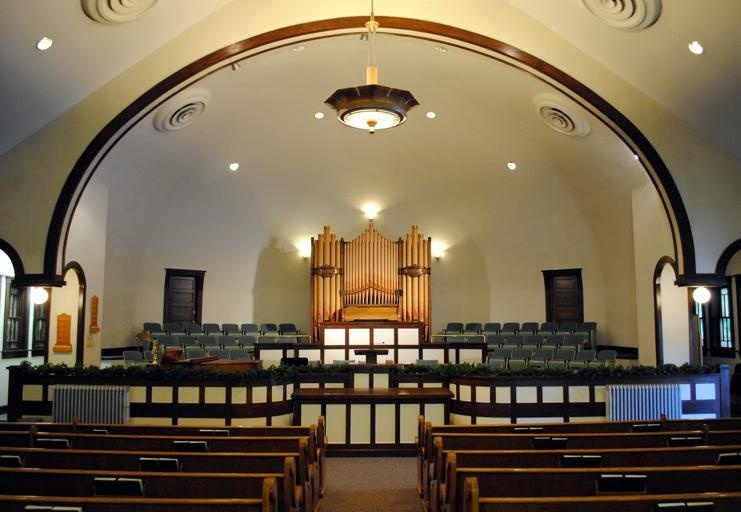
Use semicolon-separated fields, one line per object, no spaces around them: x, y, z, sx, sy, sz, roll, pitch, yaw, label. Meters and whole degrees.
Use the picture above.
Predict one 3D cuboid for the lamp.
0.151;-3.890;11.183;1.380;3.354;1.631;-3;-11;21;lamp
